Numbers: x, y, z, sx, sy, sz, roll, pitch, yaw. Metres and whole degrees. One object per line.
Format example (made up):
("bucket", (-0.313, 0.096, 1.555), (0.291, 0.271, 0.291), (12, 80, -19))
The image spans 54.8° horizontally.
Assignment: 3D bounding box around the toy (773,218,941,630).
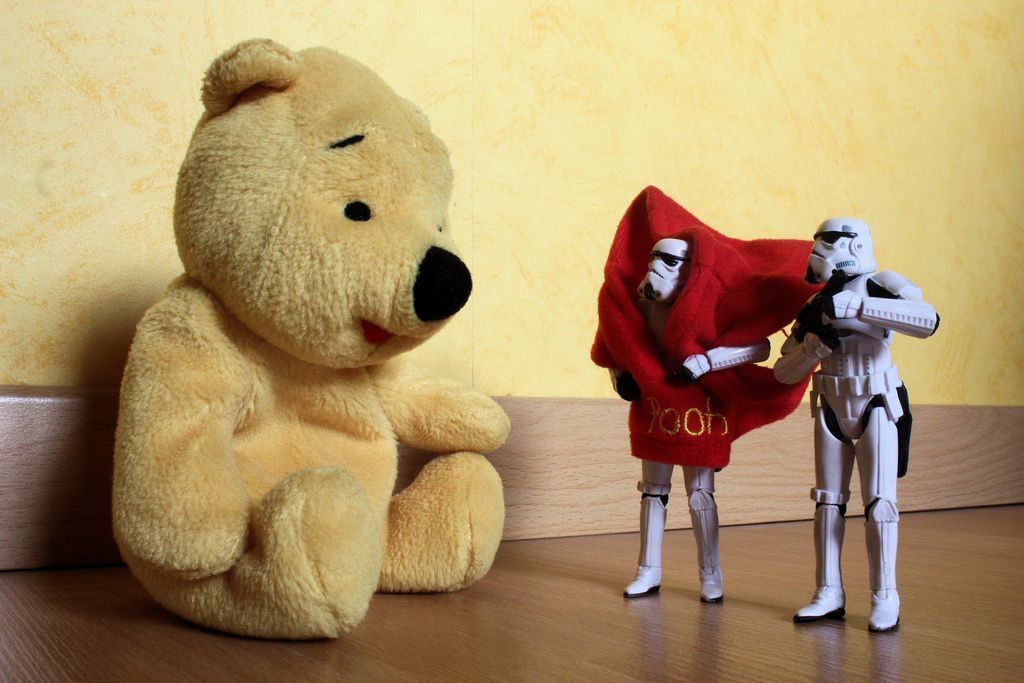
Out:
("toy", (0.478, 0.104, 1.397), (0.202, 0.554, 0.211), (0, 6, -13))
